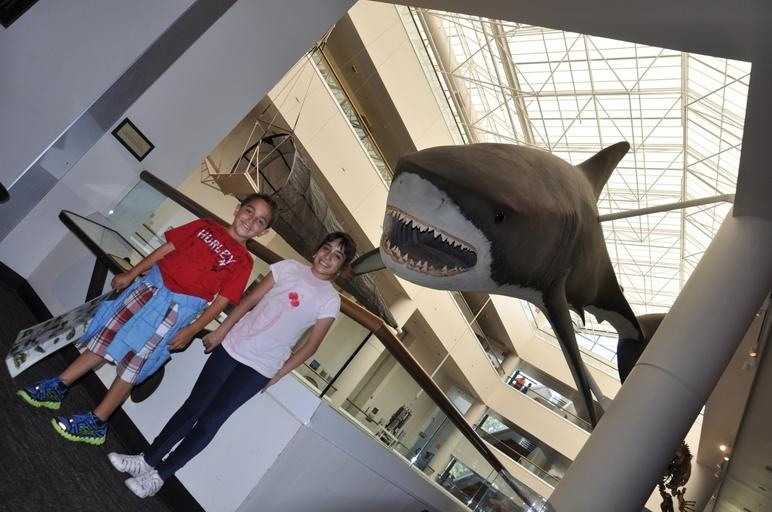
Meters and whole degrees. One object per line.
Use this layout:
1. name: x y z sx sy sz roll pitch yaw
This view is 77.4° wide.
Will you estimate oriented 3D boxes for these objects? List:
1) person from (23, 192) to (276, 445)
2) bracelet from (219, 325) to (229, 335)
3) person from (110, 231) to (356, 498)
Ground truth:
1. person: -1.701 0.308 3.913 0.961 2.260 0.528 50 -27 -17
2. bracelet: -1.206 0.552 3.572 0.043 0.046 0.050 13 -28 10
3. person: -1.041 0.778 3.618 0.731 2.284 0.554 38 -9 4
